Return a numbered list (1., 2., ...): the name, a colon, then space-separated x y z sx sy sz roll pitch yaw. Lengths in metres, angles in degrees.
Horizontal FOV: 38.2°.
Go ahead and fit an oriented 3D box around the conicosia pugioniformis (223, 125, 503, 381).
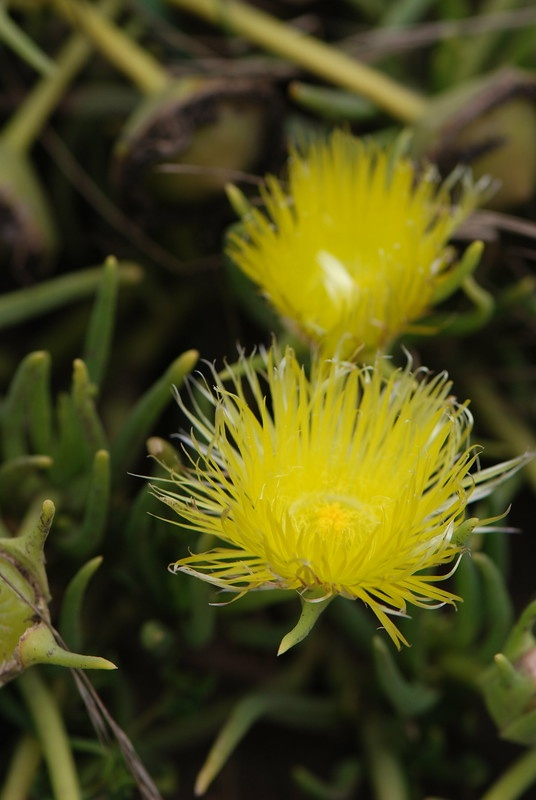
1. conicosia pugioniformis: 0.063 -0.080 0.480 0.151 0.070 0.128 -13 59 -3
